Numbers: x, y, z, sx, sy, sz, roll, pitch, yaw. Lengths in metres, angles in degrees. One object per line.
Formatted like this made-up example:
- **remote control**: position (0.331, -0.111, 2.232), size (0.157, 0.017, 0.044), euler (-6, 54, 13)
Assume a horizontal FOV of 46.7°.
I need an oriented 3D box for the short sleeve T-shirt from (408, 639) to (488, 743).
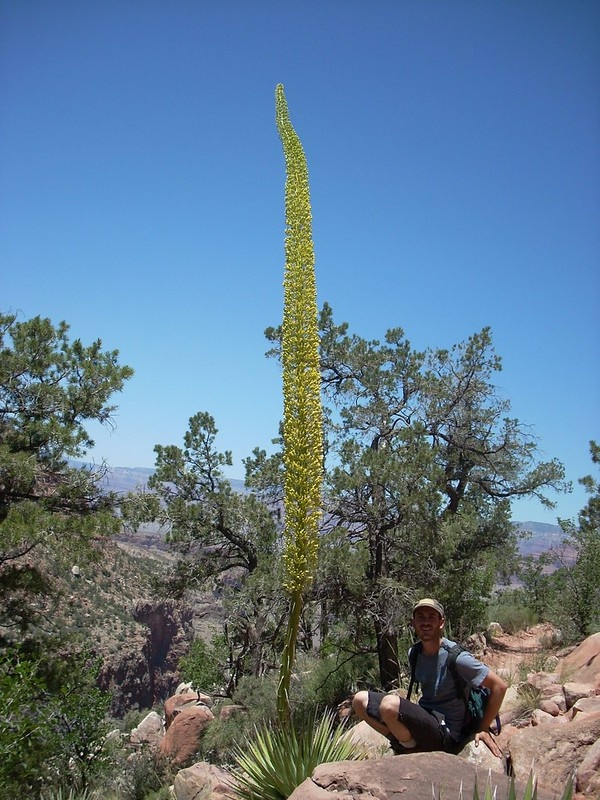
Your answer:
- **short sleeve T-shirt**: position (1.116, 2.219, 5.341), size (0.658, 0.689, 0.536), euler (2, -10, -16)
